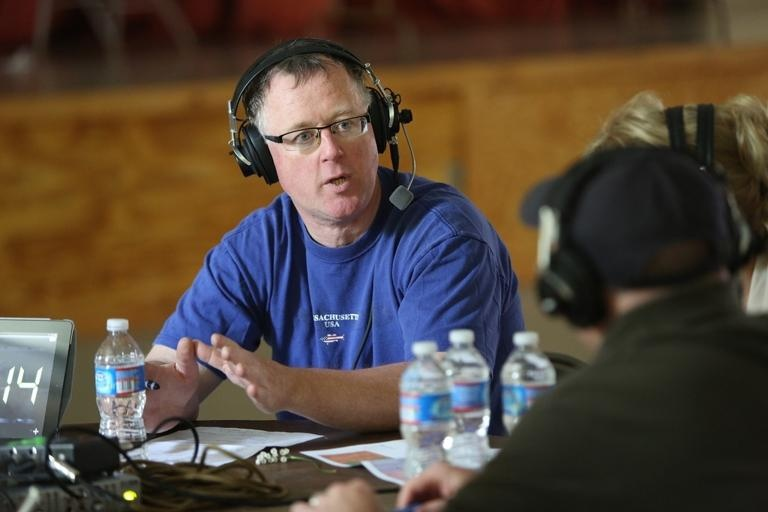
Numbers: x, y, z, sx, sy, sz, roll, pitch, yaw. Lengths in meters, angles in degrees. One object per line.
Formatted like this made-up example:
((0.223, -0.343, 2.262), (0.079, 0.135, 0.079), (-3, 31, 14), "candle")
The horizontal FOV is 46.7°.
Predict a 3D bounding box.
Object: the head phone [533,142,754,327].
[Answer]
((0.468, -0.052, 1.656), (0.362, 0.146, 0.374), (-14, 11, -17), "head phone")
